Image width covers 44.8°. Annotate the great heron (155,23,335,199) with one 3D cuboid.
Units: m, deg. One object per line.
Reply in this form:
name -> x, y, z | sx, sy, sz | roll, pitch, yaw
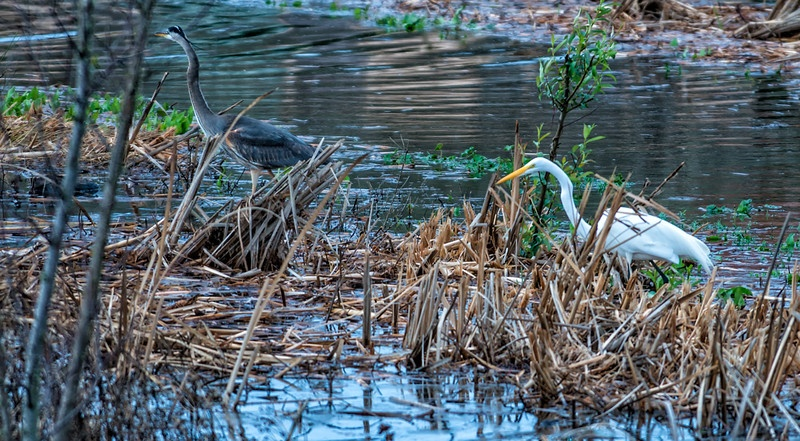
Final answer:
great heron -> -1.893, -1.339, 11.694 | 1.646, 1.876, 1.403 | 0, 13, -18
